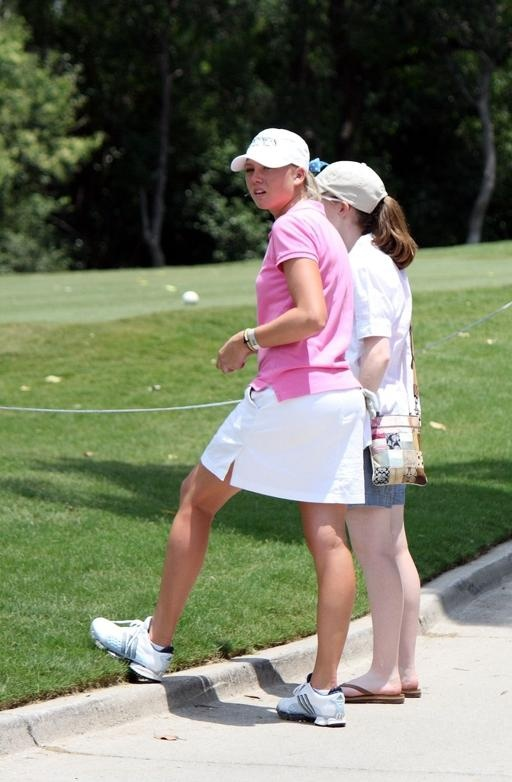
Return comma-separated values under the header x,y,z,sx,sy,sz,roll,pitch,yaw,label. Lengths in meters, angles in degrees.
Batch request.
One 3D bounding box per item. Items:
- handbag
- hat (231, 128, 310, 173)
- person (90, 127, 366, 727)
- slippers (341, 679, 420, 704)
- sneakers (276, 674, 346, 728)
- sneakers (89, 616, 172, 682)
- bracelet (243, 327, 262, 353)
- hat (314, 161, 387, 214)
x,y,z,sx,sy,sz,roll,pitch,yaw,label
0.484,0.205,3.270,0.132,0.240,0.289,14,9,38,handbag
0.049,-0.754,3.060,0.217,0.104,0.160,9,-7,-41,hat
0.040,0.112,3.074,0.819,1.907,0.463,10,8,11,person
0.439,1.052,3.361,0.270,0.064,0.100,2,-4,-3,slippers
0.175,0.991,3.082,0.273,0.136,0.105,-10,-12,43,sneakers
-0.412,0.843,3.275,0.333,0.164,0.126,23,9,35,sneakers
-0.009,-0.157,2.921,0.066,0.057,0.050,36,22,17,bracelet
0.329,-0.737,3.376,0.269,0.133,0.167,12,47,0,hat
